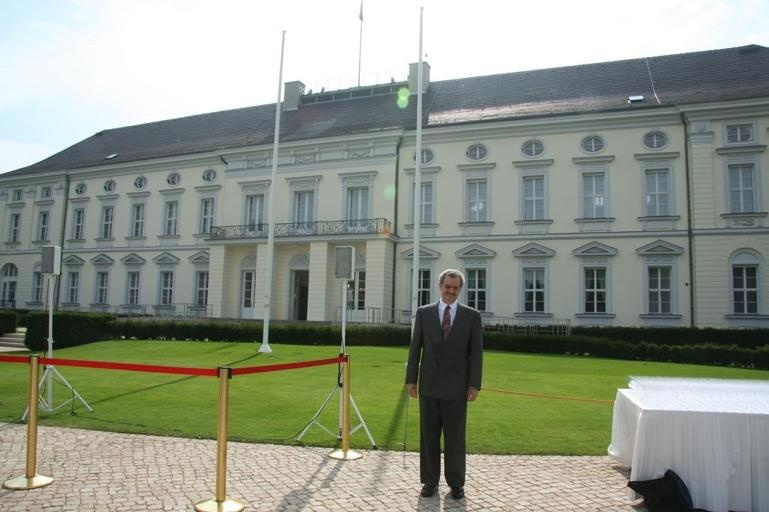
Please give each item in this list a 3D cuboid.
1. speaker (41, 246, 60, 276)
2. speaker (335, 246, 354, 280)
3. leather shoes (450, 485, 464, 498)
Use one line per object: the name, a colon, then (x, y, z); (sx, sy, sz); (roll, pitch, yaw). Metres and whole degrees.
speaker: (-9.378, 0.141, 19.542); (0.483, 0.915, 0.579); (-5, 11, -27)
speaker: (-0.961, 0.175, 17.233); (0.417, 0.835, 0.289); (-2, 10, -9)
leather shoes: (1.463, 4.635, 13.701); (0.283, 0.226, 0.217); (0, 10, 4)
